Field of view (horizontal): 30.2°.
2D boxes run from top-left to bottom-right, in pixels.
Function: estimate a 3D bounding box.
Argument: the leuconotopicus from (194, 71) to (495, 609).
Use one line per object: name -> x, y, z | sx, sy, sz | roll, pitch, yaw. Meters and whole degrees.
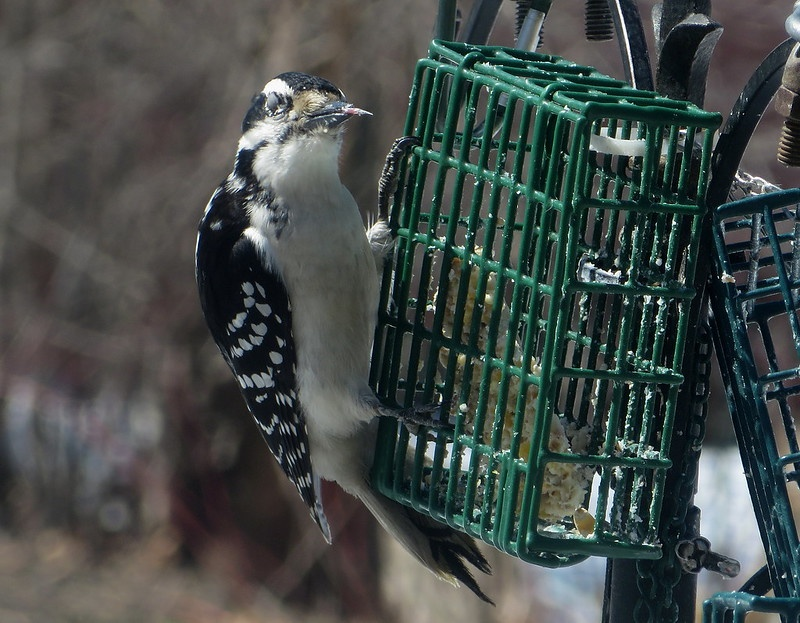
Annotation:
leuconotopicus -> -0.224, -0.097, 5.818 | 0.864, 2.409, 1.128 | 0, 19, -2
